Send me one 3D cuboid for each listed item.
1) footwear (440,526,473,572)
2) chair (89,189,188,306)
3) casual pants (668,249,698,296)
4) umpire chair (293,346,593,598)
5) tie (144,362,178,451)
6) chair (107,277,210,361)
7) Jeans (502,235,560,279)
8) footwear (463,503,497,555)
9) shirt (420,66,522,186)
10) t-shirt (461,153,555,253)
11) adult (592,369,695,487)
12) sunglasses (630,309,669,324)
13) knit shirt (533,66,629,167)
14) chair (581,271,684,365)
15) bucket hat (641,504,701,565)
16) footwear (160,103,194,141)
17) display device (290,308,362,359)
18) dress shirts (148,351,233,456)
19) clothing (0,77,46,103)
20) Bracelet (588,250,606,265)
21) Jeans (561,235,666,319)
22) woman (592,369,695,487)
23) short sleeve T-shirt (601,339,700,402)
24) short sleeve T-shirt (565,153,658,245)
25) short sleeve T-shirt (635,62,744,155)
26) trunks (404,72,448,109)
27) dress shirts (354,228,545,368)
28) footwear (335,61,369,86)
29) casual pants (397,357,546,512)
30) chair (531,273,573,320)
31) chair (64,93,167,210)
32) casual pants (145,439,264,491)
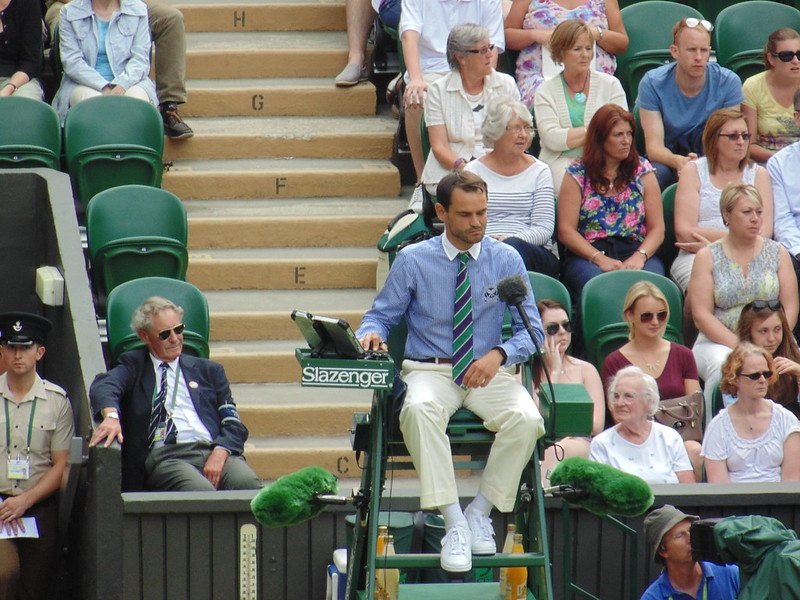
[{"bbox_3d":[0.362,1.549,17.578,0.204,0.295,0.211,-2,-8,0],"label":"footwear"},{"bbox_3d":[-1.886,-0.387,20.225,0.771,0.829,0.721,-7,11,-34],"label":"chair"},{"bbox_3d":[2.070,-0.238,20.292,0.113,0.163,0.304,15,45,3],"label":"casual pants"},{"bbox_3d":[-0.016,1.093,18.190,2.572,2.212,1.488,1,-6,-5],"label":"umpire chair"},{"bbox_3d":[-1.627,0.719,19.065,0.178,0.539,0.072,3,-9,-30],"label":"tie"},{"bbox_3d":[-1.722,0.123,19.859,0.625,0.627,0.768,4,-21,-15],"label":"chair"},{"bbox_3d":[0.966,-0.304,20.148,0.327,0.121,0.318,14,6,-30],"label":"Jeans"},{"bbox_3d":[0.531,1.451,17.660,0.128,0.138,0.360,-6,18,-15],"label":"footwear"},{"bbox_3d":[0.537,-1.318,20.722,0.779,0.858,0.497,-6,20,-13],"label":"shirt"},{"bbox_3d":[0.794,-0.693,20.230,0.702,0.658,0.707,0,17,16],"label":"t-shirt"},{"bbox_3d":[1.646,0.834,18.999,0.698,0.787,0.268,-2,-8,4],"label":"adult"},{"bbox_3d":[1.787,0.097,19.449,0.207,0.078,0.060,1,-8,-18],"label":"sunglasses"},{"bbox_3d":[1.377,-1.367,20.830,0.712,0.767,0.466,-9,24,-5],"label":"knit shirt"},{"bbox_3d":[1.651,0.161,19.991,0.713,0.732,0.483,3,-16,5],"label":"chair"},{"bbox_3d":[1.792,1.508,18.286,0.368,0.372,0.240,-4,-8,15],"label":"bucket hat"},{"bbox_3d":[-1.743,-1.409,21.635,0.150,0.194,0.434,-14,28,-21],"label":"footwear"},{"bbox_3d":[-0.453,0.202,17.572,0.474,0.291,0.266,12,11,41],"label":"display device"},{"bbox_3d":[-1.410,0.664,19.235,0.540,0.616,0.332,-5,36,2],"label":"dress shirts"},{"bbox_3d":[-2.871,-1.644,21.380,0.361,0.183,0.106,-1,6,-37],"label":"clothing"},{"bbox_3d":[1.443,-0.325,20.171,0.104,0.107,0.049,-2,-8,4],"label":"Bracelet"},{"bbox_3d":[1.543,-0.196,20.248,0.582,0.705,0.625,-1,-5,-9],"label":"Jeans"},{"bbox_3d":[1.646,0.834,18.999,0.698,0.787,0.268,-2,-8,4],"label":"woman"},{"bbox_3d":[1.748,0.574,19.600,0.709,0.609,0.370,-2,-6,-5],"label":"short sleeve T-shirt"},{"bbox_3d":[1.559,-0.756,20.376,0.629,0.571,0.377,0,7,8],"label":"short sleeve T-shirt"},{"bbox_3d":[2.203,-1.410,21.063,0.835,0.756,0.437,0,19,3],"label":"short sleeve T-shirt"},{"bbox_3d":[0.191,-1.663,21.105,0.225,0.125,0.358,8,39,16],"label":"trunks"},{"bbox_3d":[0.357,-0.032,18.339,1.456,1.047,0.810,2,0,-1],"label":"dress shirts"},{"bbox_3d":[-0.382,-1.817,22.177,0.118,0.116,0.313,3,12,23],"label":"footwear"},{"bbox_3d":[0.404,0.704,18.123,0.987,0.538,1.505,-2,34,-12],"label":"casual pants"},{"bbox_3d":[1.074,-0.086,19.934,0.309,0.374,0.321,8,35,13],"label":"chair"},{"bbox_3d":[-2.092,-1.142,21.022,0.849,0.987,0.840,-2,-3,-11],"label":"chair"},{"bbox_3d":[-1.347,1.131,18.987,0.622,0.177,0.363,-2,26,-13],"label":"casual pants"}]
